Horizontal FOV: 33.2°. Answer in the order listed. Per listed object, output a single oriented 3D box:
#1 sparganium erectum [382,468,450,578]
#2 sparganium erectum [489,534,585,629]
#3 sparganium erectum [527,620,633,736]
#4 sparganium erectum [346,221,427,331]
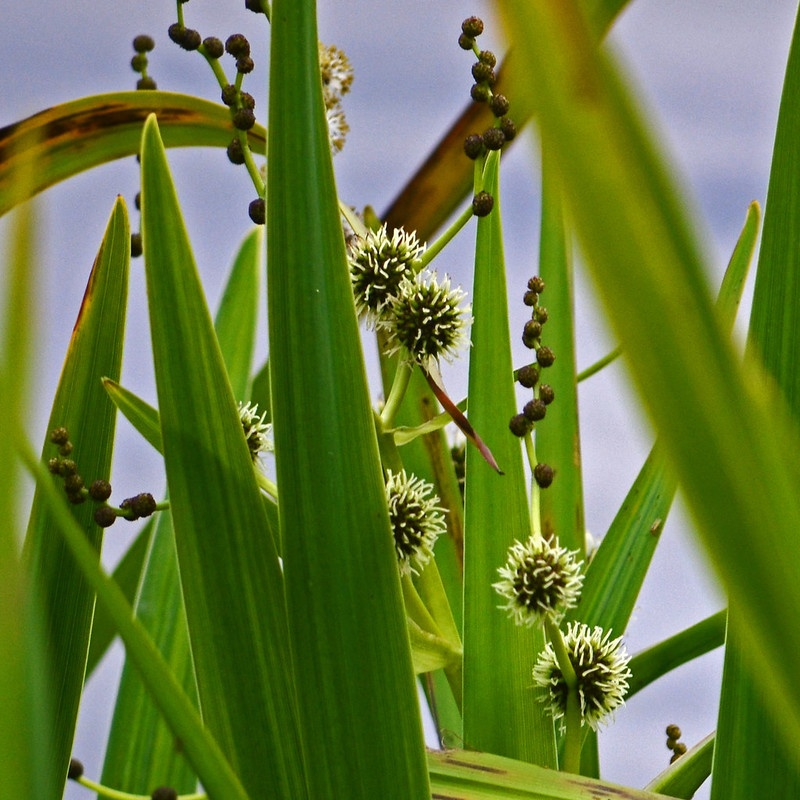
[{"bbox_3d":[0.004,0.045,0.523,0.029,0.032,0.022,-36,-13,-29],"label":"sparganium erectum"},{"bbox_3d":[0.049,0.067,0.496,0.024,0.032,0.026,-2,7,37],"label":"sparganium erectum"},{"bbox_3d":[0.074,0.106,0.525,0.024,0.041,0.029,0,8,20],"label":"sparganium erectum"},{"bbox_3d":[-0.005,-0.046,0.494,0.026,0.045,0.034,-3,-18,1],"label":"sparganium erectum"}]
